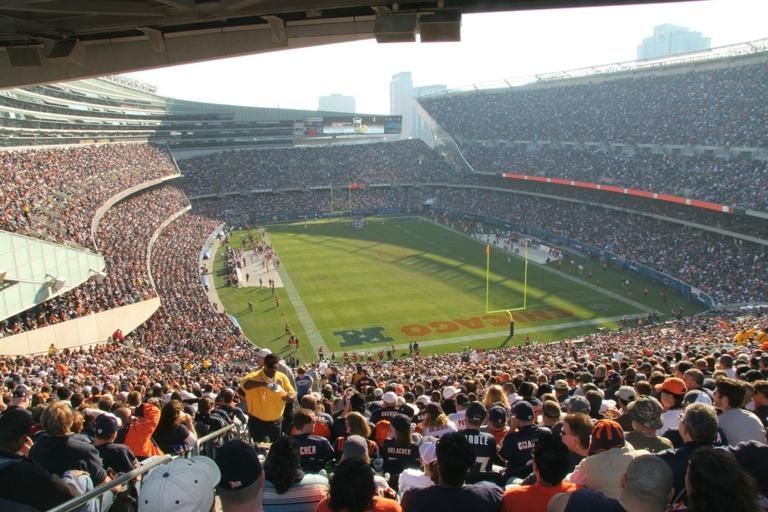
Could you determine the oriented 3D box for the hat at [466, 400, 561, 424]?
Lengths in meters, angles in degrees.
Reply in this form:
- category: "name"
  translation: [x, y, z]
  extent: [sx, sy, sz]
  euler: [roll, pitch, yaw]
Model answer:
- category: "hat"
  translation: [2.246, 2.697, 10.202]
  extent: [0.945, 0.330, 1.285]
  euler: [1, -4, -10]
